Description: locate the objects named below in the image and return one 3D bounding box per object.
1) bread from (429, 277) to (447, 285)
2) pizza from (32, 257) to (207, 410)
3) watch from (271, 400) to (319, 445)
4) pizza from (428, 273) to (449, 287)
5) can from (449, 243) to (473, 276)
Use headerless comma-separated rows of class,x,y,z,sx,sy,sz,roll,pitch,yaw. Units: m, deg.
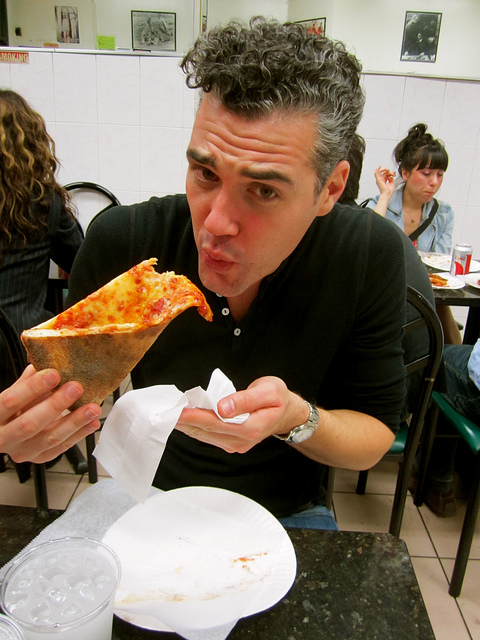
bread,1.016,-0.200,2.601,0.070,0.030,0.115,3,18,4
pizza,-0.147,0.009,0.794,0.277,0.074,0.178,-40,37,-14
watch,0.124,0.215,1.044,0.088,0.107,0.047,1,17,-15
pizza,1.043,-0.213,2.666,0.101,0.038,0.127,13,24,2
can,1.294,-0.356,2.959,0.266,0.168,0.102,-8,21,-37
